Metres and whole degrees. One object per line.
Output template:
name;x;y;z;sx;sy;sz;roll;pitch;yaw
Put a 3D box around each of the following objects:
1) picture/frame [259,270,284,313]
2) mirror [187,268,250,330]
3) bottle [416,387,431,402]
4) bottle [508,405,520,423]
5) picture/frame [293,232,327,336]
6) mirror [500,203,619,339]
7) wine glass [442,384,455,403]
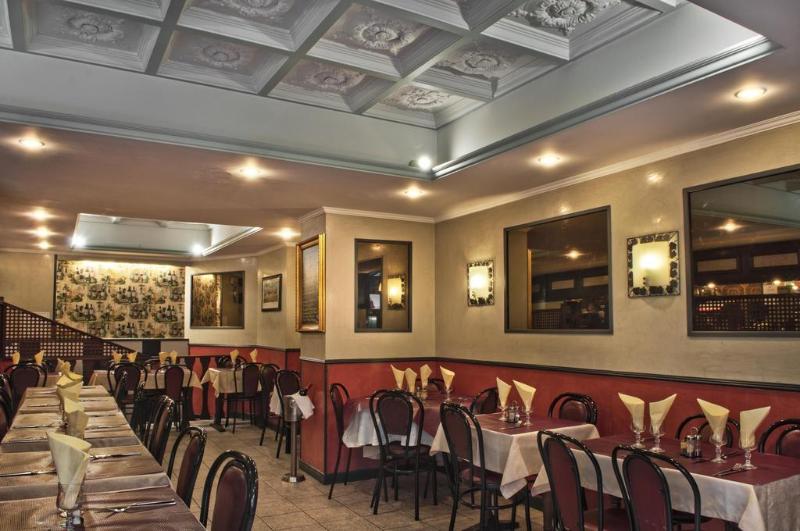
picture/frame;-2.588;0.536;11.225;0.061;0.710;0.839;6;-10;-37
mirror;-4.152;0.798;12.532;1.672;1.269;0.157;-4;-7;32
bottle;0.297;1.646;7.022;0.118;0.209;0.123;1;-3;0
bottle;1.140;1.477;5.490;0.106;0.163;0.196;-2;-6;23
picture/frame;-1.270;0.266;7.757;0.211;1.323;0.847;3;-7;-26
mirror;1.917;0.067;6.461;0.062;1.475;1.731;2;-3;-36
wine glass;0.623;1.650;7.039;0.195;0.296;0.204;1;-19;0
